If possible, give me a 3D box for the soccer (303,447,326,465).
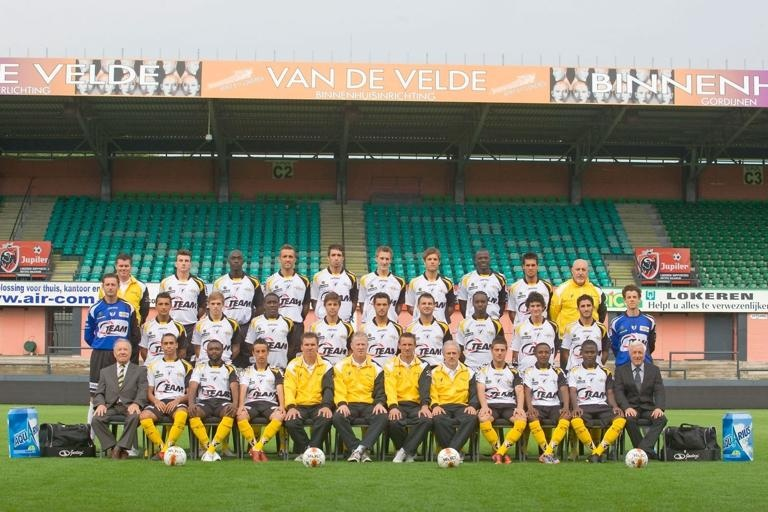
[{"bbox_3d":[-1.552,4.365,29.316,0.398,0.278,0.384,-7,-18,41],"label":"soccer"}]

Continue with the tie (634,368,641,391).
[{"bbox_3d":[5.656,2.760,30.438,0.202,0.466,0.086,-5,-14,8],"label":"tie"}]

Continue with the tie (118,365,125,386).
[{"bbox_3d":[-5.935,2.690,30.328,0.173,0.422,0.021,-4,-14,2],"label":"tie"}]

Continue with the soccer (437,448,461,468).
[{"bbox_3d":[1.375,4.408,29.485,0.516,0.430,0.257,-4,-14,2],"label":"soccer"}]

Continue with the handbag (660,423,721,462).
[{"bbox_3d":[6.804,4.202,30.389,1.077,0.620,0.891,-1,-17,3],"label":"handbag"}]

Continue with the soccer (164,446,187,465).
[{"bbox_3d":[-4.567,4.353,29.348,0.364,0.338,0.442,4,-18,-6],"label":"soccer"}]

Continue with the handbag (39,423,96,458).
[{"bbox_3d":[-7.161,4.097,30.288,1.222,0.703,0.878,3,1,-33],"label":"handbag"}]
